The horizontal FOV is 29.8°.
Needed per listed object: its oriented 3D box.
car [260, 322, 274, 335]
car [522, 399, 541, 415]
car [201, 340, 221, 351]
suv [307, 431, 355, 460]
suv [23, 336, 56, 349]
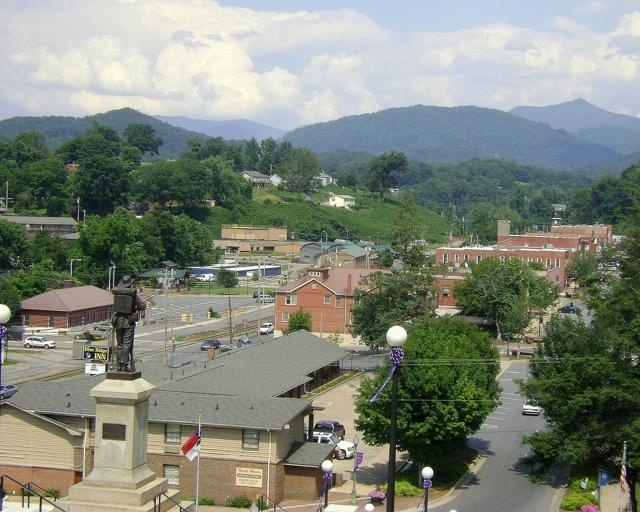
[{"bbox_3d":[-5.552,7.767,125.322,1.314,0.931,2.811,-2,-3,11],"label":"car"},{"bbox_3d":[15.561,11.583,89.867,1.385,0.979,3.001,2,6,19],"label":"car"},{"bbox_3d":[-10.343,8.570,114.599,1.444,0.977,3.089,-1,-7,8],"label":"car"},{"bbox_3d":[0.691,12.999,82.213,3.170,1.138,1.442,-1,5,12],"label":"suv"},{"bbox_3d":[-26.953,8.529,116.286,2.678,0.959,1.232,-2,1,13],"label":"suv"}]
